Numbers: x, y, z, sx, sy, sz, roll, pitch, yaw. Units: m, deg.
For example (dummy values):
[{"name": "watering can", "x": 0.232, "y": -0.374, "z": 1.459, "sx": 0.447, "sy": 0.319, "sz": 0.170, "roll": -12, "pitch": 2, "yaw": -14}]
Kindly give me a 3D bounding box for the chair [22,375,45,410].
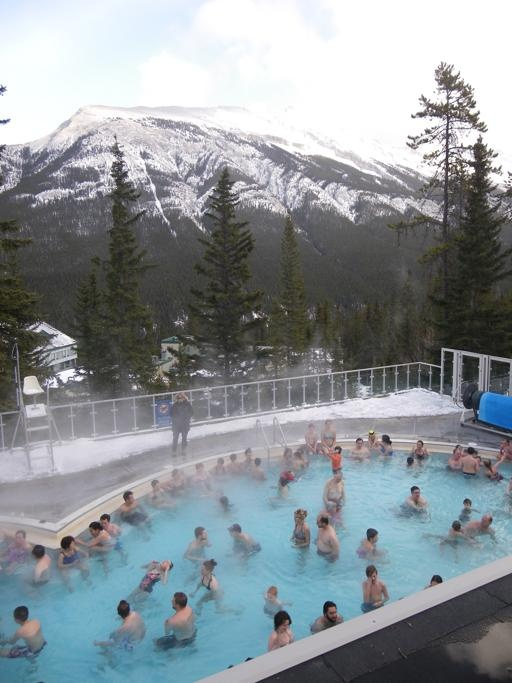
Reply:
[{"name": "chair", "x": -5.190, "y": 1.060, "z": 13.398, "sx": 0.369, "sy": 0.495, "sz": 0.698, "roll": -5, "pitch": 11, "yaw": -22}]
